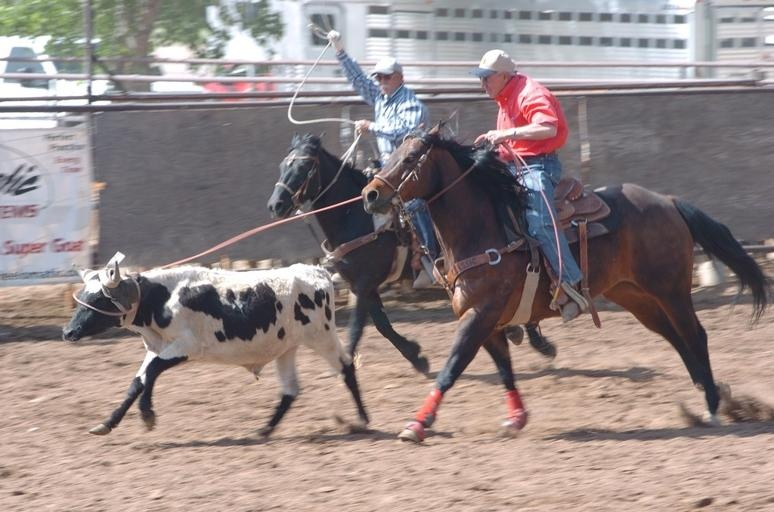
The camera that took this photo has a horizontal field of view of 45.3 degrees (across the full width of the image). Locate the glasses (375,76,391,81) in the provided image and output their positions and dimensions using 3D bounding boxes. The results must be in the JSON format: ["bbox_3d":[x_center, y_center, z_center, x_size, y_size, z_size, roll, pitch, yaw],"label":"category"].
[{"bbox_3d":[-0.030,-1.840,9.675,0.164,0.056,0.068,2,12,16],"label":"glasses"}]

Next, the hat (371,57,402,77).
[{"bbox_3d":[0.020,-1.966,9.696,0.211,0.120,0.311,-2,-4,45],"label":"hat"}]

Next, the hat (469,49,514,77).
[{"bbox_3d":[0.963,-1.741,8.459,0.405,0.162,0.222,1,21,-1],"label":"hat"}]

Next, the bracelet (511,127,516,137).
[{"bbox_3d":[1.133,-1.081,8.249,0.047,0.073,0.018,-1,14,5],"label":"bracelet"}]
